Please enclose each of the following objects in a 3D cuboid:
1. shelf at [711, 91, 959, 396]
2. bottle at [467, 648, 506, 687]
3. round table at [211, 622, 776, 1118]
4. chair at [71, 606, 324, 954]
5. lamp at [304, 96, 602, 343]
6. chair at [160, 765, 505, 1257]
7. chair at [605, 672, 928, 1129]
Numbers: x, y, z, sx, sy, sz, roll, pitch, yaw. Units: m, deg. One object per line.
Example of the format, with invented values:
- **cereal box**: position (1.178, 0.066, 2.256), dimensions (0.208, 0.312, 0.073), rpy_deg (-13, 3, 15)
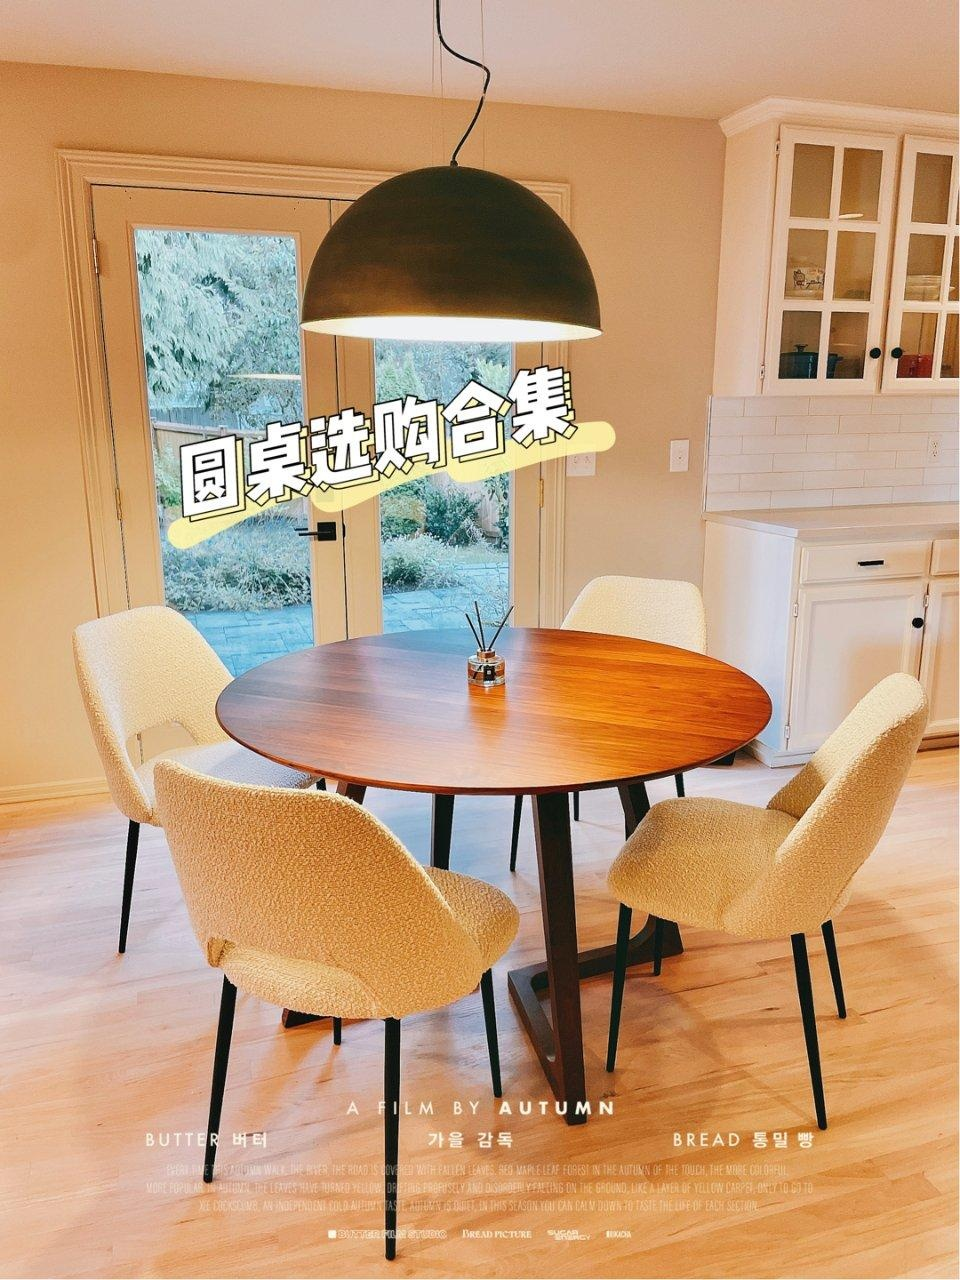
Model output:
- **shelf**: position (1.197, -1.358, 3.626), dimensions (0.966, 0.895, 0.275), rpy_deg (-5, 14, -19)
- **bottle**: position (0.016, 0.056, 2.363), dimensions (0.082, 0.054, 0.080), rpy_deg (0, 11, 0)
- **round table**: position (0.035, 0.448, 2.215), dimensions (0.986, 0.605, 1.058), rpy_deg (0, 10, 0)
- **chair**: position (-0.630, 0.362, 2.645), dimensions (0.670, 0.767, 0.583), rpy_deg (4, 15, 2)
- **lamp**: position (-0.037, -0.660, 1.797), dimensions (0.511, 0.253, 0.238), rpy_deg (-1, 14, -8)
- **chair**: position (-0.194, 0.571, 1.770), dimensions (0.591, 0.852, 0.368), rpy_deg (-4, 15, -17)
- **chair**: position (0.547, 0.477, 2.159), dimensions (0.581, 0.807, 0.520), rpy_deg (7, 20, 33)
